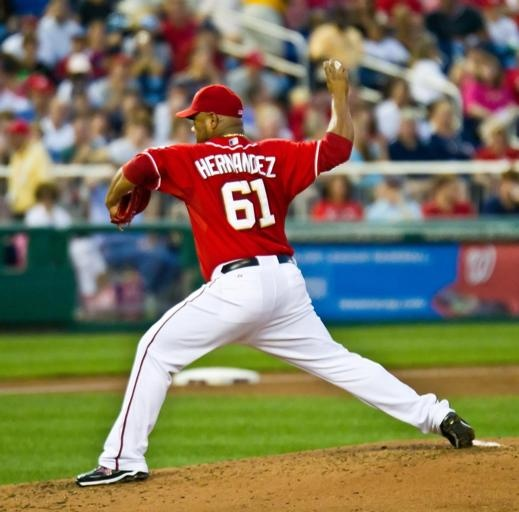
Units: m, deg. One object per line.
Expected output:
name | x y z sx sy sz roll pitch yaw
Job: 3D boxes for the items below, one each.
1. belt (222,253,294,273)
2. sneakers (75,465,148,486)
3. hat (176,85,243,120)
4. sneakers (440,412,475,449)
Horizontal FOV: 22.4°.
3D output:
belt | 0.002 0.055 7.732 0.445 0.113 0.154 1 0 -30
sneakers | -0.874 1.289 7.755 0.412 0.194 0.152 3 -6 -3
hat | -0.295 -0.897 7.910 0.317 0.175 0.200 5 3 1
sneakers | 1.185 1.037 7.810 0.096 0.233 0.177 -15 27 48
